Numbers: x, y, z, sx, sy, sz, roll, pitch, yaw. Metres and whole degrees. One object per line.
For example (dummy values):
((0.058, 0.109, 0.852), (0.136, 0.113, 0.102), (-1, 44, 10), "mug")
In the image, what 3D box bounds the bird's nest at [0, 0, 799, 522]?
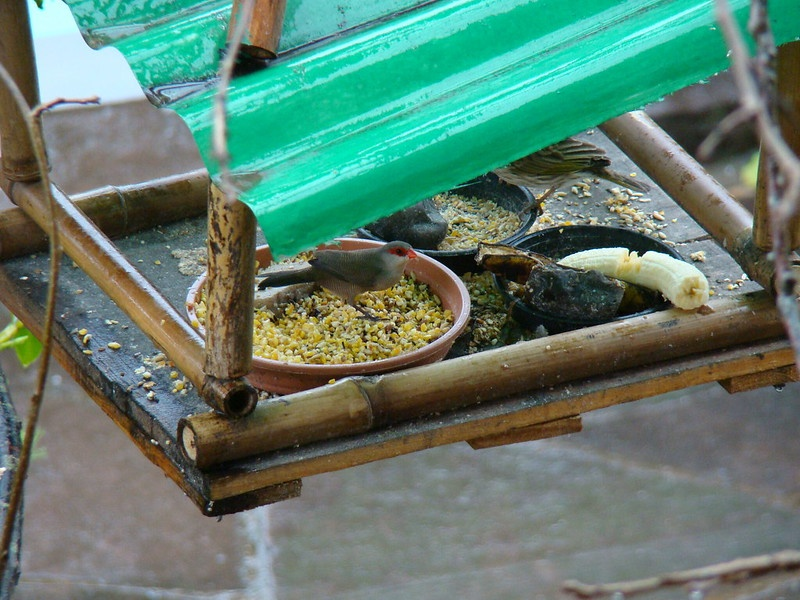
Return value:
((-0.137, -0.064, 3.135), (1.508, 1.140, 1.481), (-17, 43, -21), "bird's nest")

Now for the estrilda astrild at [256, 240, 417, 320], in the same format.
((-0.159, -0.070, 3.177), (0.384, 0.199, 0.118), (7, 11, 4), "estrilda astrild")
